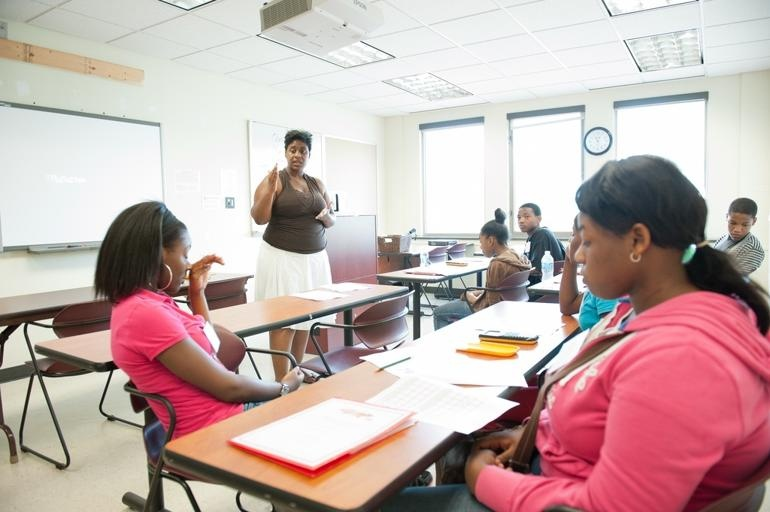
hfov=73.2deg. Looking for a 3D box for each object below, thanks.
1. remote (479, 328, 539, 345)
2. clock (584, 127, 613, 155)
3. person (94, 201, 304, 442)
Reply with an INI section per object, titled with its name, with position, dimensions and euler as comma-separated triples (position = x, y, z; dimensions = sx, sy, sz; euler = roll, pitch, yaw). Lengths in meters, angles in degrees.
[remote]
position = 0.564, 0.369, 2.347
dimensions = 0.171, 0.029, 0.100
euler = 1, 0, 21
[clock]
position = 2.809, -1.512, 6.814
dimensions = 0.392, 0.395, 0.058
euler = -4, -2, 41
[person]
position = -0.793, 0.245, 2.094
dimensions = 0.595, 0.942, 0.337
euler = -11, 12, -32
